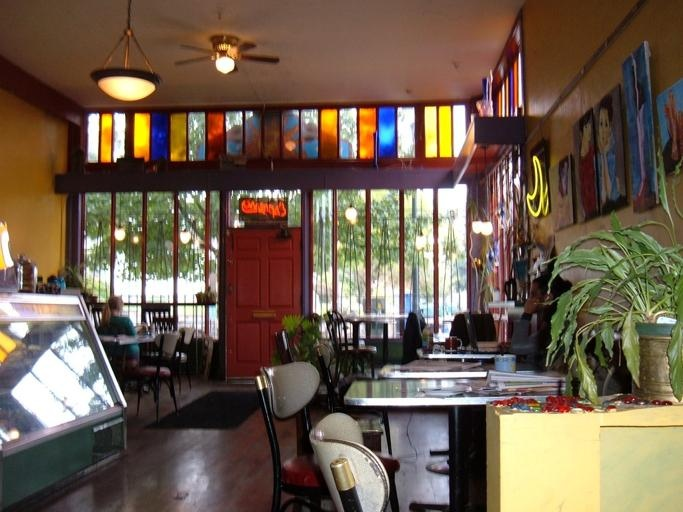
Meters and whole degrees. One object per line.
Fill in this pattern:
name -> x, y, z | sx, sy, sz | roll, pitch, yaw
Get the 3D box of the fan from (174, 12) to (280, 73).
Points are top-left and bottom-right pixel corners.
fan -> -1.532, -2.667, 7.523 | 0.854, 0.294, 0.930 | 1, -2, 36

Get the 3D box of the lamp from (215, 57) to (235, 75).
lamp -> -1.479, -2.471, 7.343 | 0.217, 0.161, 0.207 | -3, -2, 4

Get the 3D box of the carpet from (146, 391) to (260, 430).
carpet -> -1.491, 1.860, 7.034 | 0.982, 0.112, 2.245 | -3, -3, 4

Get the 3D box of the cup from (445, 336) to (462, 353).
cup -> 1.015, 0.803, 5.210 | 0.138, 0.149, 0.095 | 3, -10, 0

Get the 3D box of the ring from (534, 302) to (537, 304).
ring -> 1.511, 0.368, 4.503 | 0.015, 0.017, 0.004 | -3, -1, 22

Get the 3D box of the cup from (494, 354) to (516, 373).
cup -> 1.000, 0.651, 3.508 | 0.107, 0.126, 0.118 | 1, -1, -8

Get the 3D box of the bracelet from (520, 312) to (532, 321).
bracelet -> 1.464, 0.476, 4.557 | 0.058, 0.055, 0.063 | 2, 1, 26
